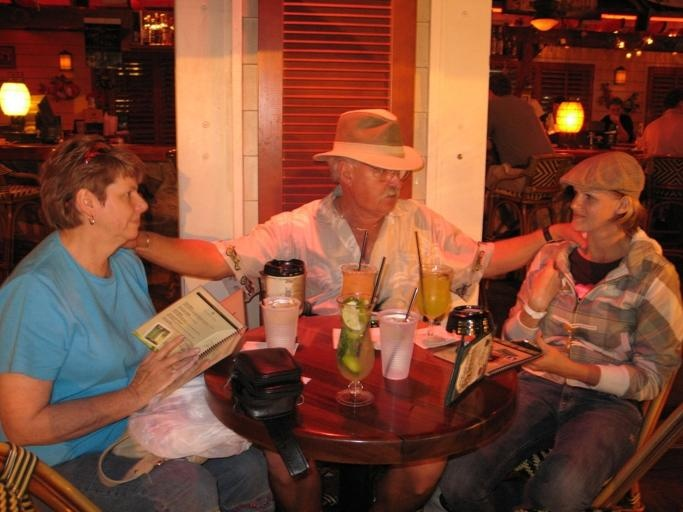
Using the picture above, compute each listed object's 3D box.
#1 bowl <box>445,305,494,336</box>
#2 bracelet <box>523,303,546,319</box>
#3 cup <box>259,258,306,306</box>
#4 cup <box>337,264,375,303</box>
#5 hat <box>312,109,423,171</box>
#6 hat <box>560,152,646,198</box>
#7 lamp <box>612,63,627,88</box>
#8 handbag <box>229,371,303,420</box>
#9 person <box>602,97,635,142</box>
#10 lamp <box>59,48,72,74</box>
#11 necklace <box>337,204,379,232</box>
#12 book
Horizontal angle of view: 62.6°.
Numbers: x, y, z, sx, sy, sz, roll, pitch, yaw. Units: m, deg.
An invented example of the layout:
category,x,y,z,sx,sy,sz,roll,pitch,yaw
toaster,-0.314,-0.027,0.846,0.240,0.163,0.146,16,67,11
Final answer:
category,x,y,z,sx,sy,sz,roll,pitch,yaw
bowl,0.446,0.226,1.958,0.135,0.058,0.121,0,0,5
bracelet,0.767,0.221,2.227,0.069,0.024,0.068,8,2,5
cup,-0.220,0.112,2.302,0.205,0.166,0.167,2,7,19
cup,0.055,0.097,2.087,0.132,0.115,0.128,2,6,0
hat,0.130,-0.494,2.521,0.387,0.166,0.355,7,10,38
hat,1.080,-0.346,2.275,0.299,0.126,0.192,11,6,4
lamp,5.907,-3.779,11.812,0.399,0.388,0.147,-8,15,-34
handbag,-0.216,0.391,1.585,0.164,0.057,0.121,-1,4,-23
person,5.029,-2.424,10.080,0.502,0.821,2.273,6,12,26
lamp,-4.575,-3.227,9.330,0.226,0.332,0.286,-5,13,-20
necklace,0.081,-0.175,2.609,0.142,0.053,0.113,14,-4,40
book,-0.483,0.243,1.825,0.358,0.248,0.111,-38,14,-23
